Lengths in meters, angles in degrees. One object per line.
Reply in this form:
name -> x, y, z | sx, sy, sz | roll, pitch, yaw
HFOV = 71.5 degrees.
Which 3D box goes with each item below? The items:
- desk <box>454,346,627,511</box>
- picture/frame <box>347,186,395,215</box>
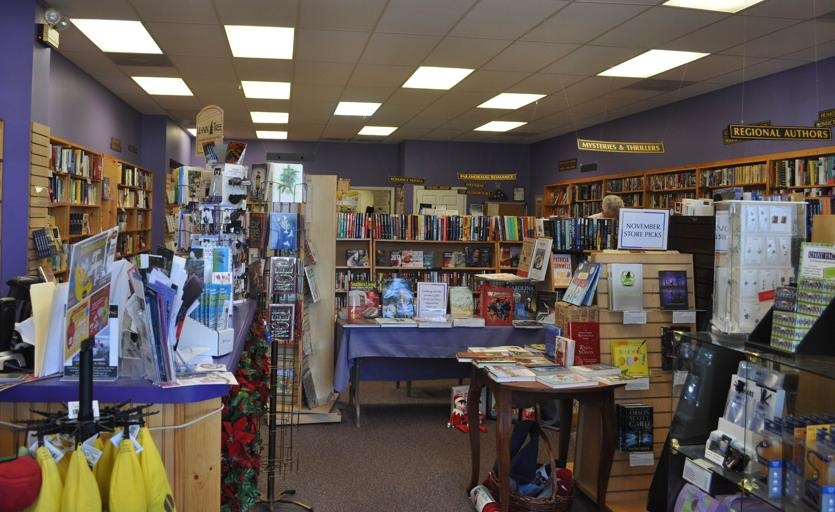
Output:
desk -> 0.965, 1.393, 5.167 | 1.282, 1.125, 1.490 | 2, 0, -11
picture/frame -> -1.080, -1.286, 13.184 | 0.956, 0.916, 0.525 | 1, 5, -2
